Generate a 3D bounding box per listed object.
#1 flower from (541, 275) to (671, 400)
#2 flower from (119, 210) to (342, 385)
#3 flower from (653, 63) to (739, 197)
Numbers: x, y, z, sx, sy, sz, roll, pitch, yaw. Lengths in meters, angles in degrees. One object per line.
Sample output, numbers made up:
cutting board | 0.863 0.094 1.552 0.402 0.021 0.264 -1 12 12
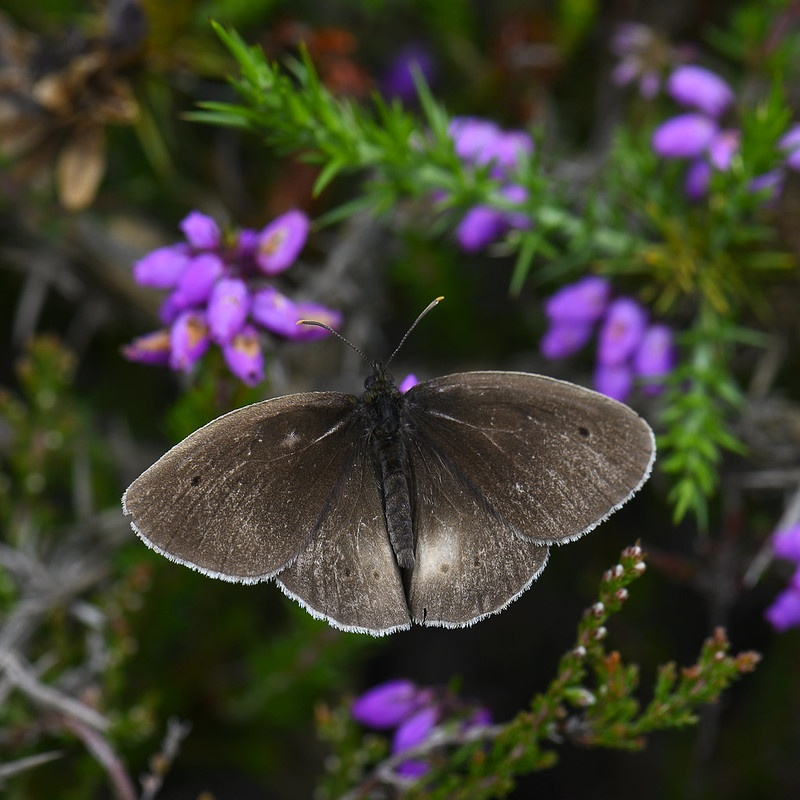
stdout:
flower | 0.361 -0.111 1.622 0.183 0.212 0.067 18 15 13
flower | -0.264 -0.156 1.414 0.256 0.280 0.095 -16 26 -12
flower | 0.476 -0.447 1.500 0.126 0.196 0.104 18 -9 7
